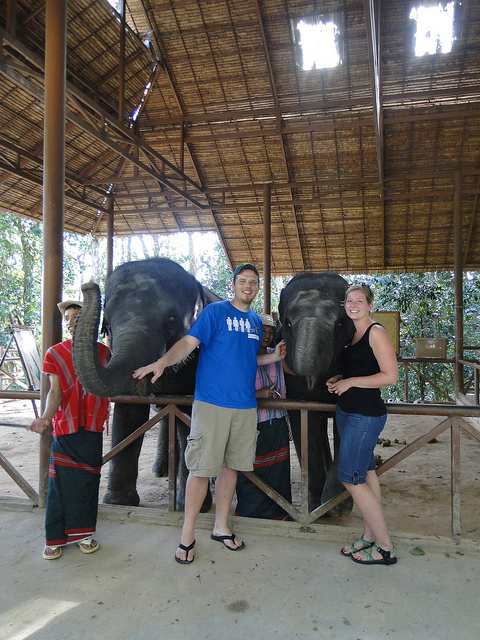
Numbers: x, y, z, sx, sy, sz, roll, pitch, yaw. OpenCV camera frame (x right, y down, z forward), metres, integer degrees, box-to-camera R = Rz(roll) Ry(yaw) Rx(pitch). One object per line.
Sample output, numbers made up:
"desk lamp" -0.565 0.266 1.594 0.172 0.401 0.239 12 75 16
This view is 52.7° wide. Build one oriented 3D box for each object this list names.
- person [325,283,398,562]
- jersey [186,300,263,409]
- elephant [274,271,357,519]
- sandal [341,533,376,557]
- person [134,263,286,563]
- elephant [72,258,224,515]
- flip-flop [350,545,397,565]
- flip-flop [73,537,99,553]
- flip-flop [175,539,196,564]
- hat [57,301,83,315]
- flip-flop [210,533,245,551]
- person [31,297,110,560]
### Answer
"person" 0.637 0.512 2.531 0.351 1.433 0.385 0 -1 10
"jersey" -0.083 0.195 2.645 0.360 0.572 0.225 0 -1 0
"elephant" 0.495 0.560 3.304 0.578 1.846 1.170 0 -1 10
"sandal" 0.610 1.166 2.523 0.202 0.049 0.071 -5 -3 -20
"person" -0.152 0.462 2.630 0.711 1.541 0.262 0 -1 -36
"elephant" -0.624 0.502 3.831 0.789 1.761 2.494 -1 -6 9
"flip-flop" 0.690 1.171 2.423 0.177 0.065 0.088 2 -9 5
"flip-flop" -0.823 1.215 2.626 0.059 0.051 0.134 3 -8 -24
"flip-flop" -0.281 1.178 2.460 0.096 0.086 0.091 0 -1 -8
"hat" -1.044 -0.072 2.939 0.103 0.074 0.396 0 -2 -28
"flip-flop" -0.079 1.202 2.638 0.219 0.056 0.111 -1 -2 20
"person" -0.920 0.674 2.623 0.394 1.130 0.232 0 -1 -19
